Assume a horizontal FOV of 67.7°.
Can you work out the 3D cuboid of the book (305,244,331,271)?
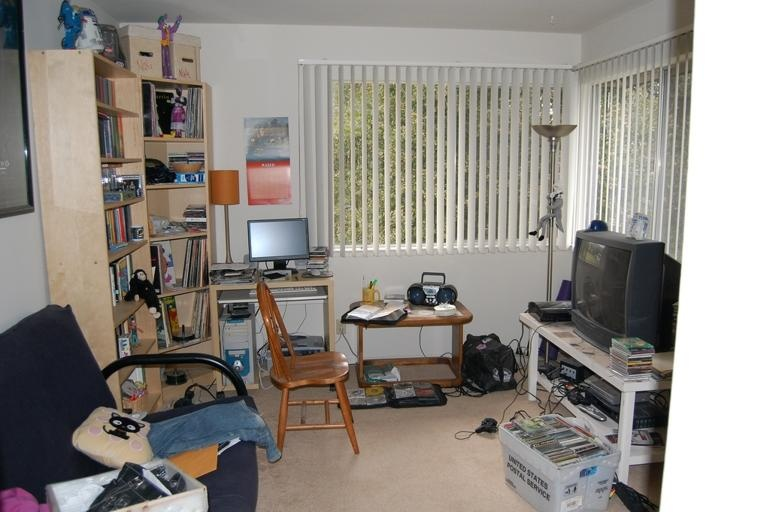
[{"bbox_3d":[-0.531,0.028,4.504,0.167,0.179,0.267,1,2,1],"label":"book"}]

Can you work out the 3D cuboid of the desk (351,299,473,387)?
[{"bbox_3d":[0.243,0.753,4.473,1.009,0.557,0.631,0,3,-4],"label":"desk"}]

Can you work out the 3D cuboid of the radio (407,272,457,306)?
[{"bbox_3d":[0.374,0.279,4.524,0.409,0.260,0.145,1,-14,1],"label":"radio"}]

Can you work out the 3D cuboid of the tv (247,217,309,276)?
[{"bbox_3d":[-0.835,-0.079,4.481,0.470,0.388,0.078,-1,2,-9],"label":"tv"}]

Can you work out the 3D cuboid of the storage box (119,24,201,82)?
[{"bbox_3d":[-1.596,-1.419,4.025,0.559,0.369,0.302,-8,16,-44],"label":"storage box"}]

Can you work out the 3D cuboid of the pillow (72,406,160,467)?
[{"bbox_3d":[-1.140,0.775,2.429,0.263,0.078,0.259,31,19,-7],"label":"pillow"}]

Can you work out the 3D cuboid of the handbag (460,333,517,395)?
[{"bbox_3d":[0.762,0.831,4.398,0.341,0.411,0.183,4,-28,-13],"label":"handbag"}]

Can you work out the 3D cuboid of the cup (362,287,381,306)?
[{"bbox_3d":[-0.108,0.310,4.518,0.157,0.120,0.097,1,4,5],"label":"cup"}]
